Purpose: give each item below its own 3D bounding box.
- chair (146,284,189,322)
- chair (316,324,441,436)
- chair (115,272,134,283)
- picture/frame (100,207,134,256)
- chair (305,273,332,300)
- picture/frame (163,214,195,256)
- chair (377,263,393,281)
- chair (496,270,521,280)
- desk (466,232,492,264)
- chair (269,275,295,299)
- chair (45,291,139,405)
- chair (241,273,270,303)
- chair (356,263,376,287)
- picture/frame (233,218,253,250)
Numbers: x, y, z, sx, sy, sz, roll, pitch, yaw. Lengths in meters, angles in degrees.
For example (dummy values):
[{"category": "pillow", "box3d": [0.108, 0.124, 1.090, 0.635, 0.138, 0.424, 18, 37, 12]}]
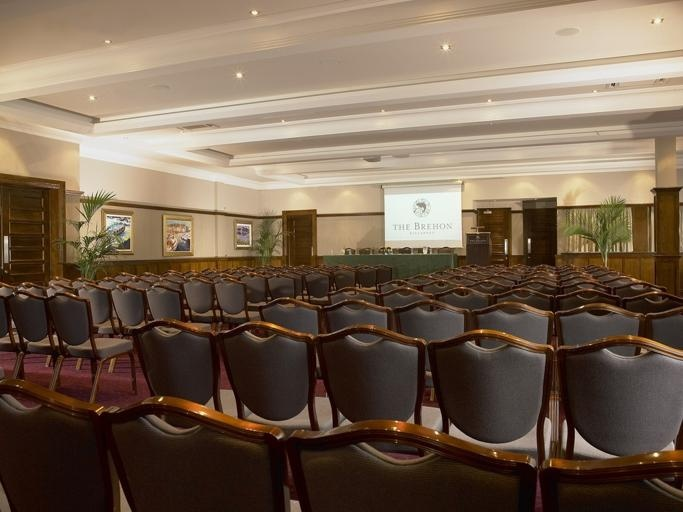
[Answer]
[{"category": "chair", "box3d": [-2.109, 0.535, 5.375, 0.559, 0.401, 0.242, 0, 1, 37]}, {"category": "chair", "box3d": [0.171, 0.553, 2.559, 0.446, 0.866, 0.592, 1, 7, 18]}, {"category": "chair", "box3d": [-3.718, 0.351, 7.779, 0.185, 0.186, 0.186, 4, 14, -3]}, {"category": "picture/frame", "box3d": [-6.339, -0.696, 12.946, 0.198, 1.359, 1.022, 0, 0, 15]}, {"category": "chair", "box3d": [-0.413, 0.474, 7.395, 0.411, 0.351, 0.341, -1, 0, -3]}, {"category": "picture/frame", "box3d": [-5.428, -0.715, 14.992, 0.051, 1.442, 1.355, -1, 0, 25]}, {"category": "chair", "box3d": [0.829, 0.307, 8.733, 0.253, 0.478, 0.283, -2, 12, -14]}, {"category": "chair", "box3d": [2.501, 0.285, 6.878, 0.219, 0.116, 0.370, 7, 6, 44]}, {"category": "desk", "box3d": [4.352, -0.248, 14.475, 0.840, 1.530, 0.842, -1, -3, 23]}, {"category": "chair", "box3d": [-0.885, 0.400, 6.898, 0.344, 0.496, 0.375, 3, 8, 24]}, {"category": "chair", "box3d": [-2.418, 0.839, 4.413, 0.646, 1.095, 0.713, 3, 4, 33]}, {"category": "chair", "box3d": [-1.255, 0.439, 6.898, 0.383, 0.545, 0.424, 4, 9, 28]}, {"category": "chair", "box3d": [0.445, 0.371, 8.465, 0.297, 0.556, 0.376, 3, 13, 14]}, {"category": "picture/frame", "box3d": [-4.003, -0.908, 18.215, 0.080, 1.211, 1.209, -1, 2, 23]}]
